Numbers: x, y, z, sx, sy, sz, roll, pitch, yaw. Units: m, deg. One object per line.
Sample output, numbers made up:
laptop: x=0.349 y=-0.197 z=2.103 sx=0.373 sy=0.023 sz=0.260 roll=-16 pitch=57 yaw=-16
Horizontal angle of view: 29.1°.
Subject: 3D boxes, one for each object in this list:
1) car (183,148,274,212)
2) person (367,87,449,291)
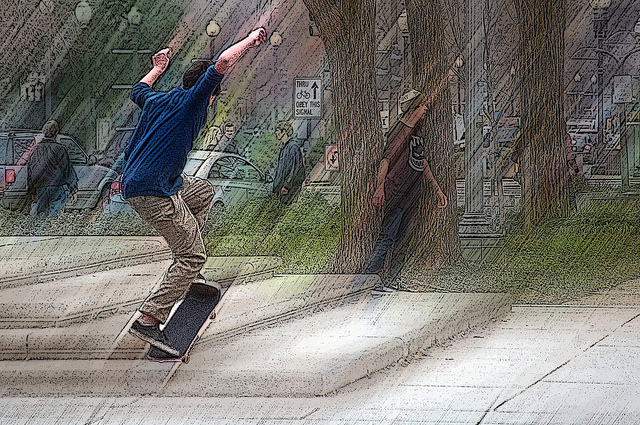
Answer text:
car: x=-2.007 y=-0.756 z=27.057 sx=0.993 sy=0.700 sz=2.095 roll=0 pitch=-1 yaw=31
person: x=1.502 y=-0.363 z=23.900 sx=1.051 sy=2.791 sz=0.648 roll=7 pitch=4 yaw=-11
